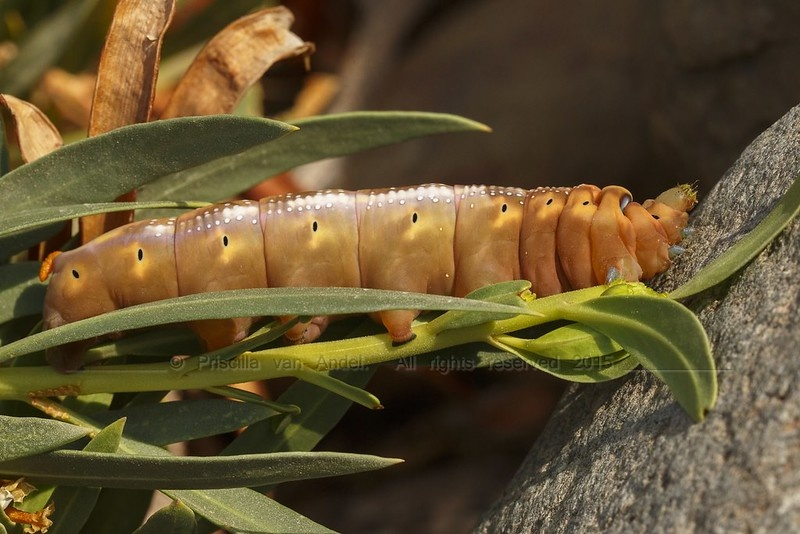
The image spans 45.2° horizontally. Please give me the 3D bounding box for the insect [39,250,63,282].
[{"bbox_3d":[-0.965,0.002,2.632,0.055,0.019,0.090,-15,57,55],"label":"insect"}]
